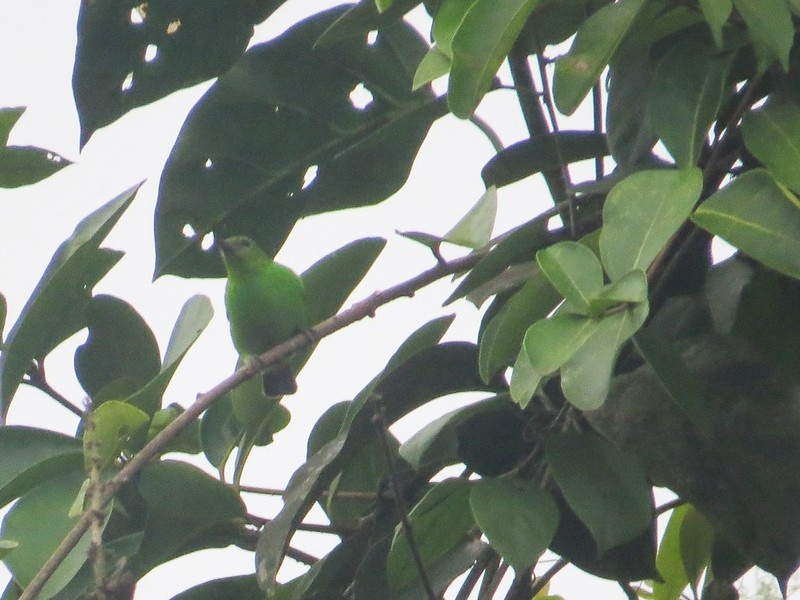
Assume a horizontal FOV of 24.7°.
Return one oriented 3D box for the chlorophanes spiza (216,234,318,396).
[{"bbox_3d":[-0.097,0.015,1.305,0.063,0.090,0.127,-17,-23,1],"label":"chlorophanes spiza"}]
